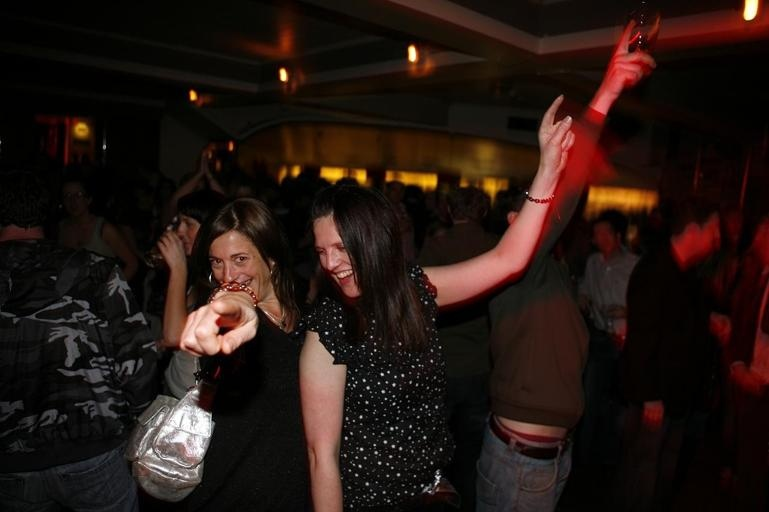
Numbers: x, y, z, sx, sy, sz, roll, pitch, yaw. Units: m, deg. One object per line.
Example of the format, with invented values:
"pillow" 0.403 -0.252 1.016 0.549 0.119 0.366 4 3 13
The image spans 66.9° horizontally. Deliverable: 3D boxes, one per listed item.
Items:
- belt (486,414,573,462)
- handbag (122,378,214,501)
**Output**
"belt" 0.938 1.204 3.759 0.319 0.100 0.302 20 6 -24
"handbag" -1.100 0.945 2.998 0.406 0.602 0.161 0 10 -2
